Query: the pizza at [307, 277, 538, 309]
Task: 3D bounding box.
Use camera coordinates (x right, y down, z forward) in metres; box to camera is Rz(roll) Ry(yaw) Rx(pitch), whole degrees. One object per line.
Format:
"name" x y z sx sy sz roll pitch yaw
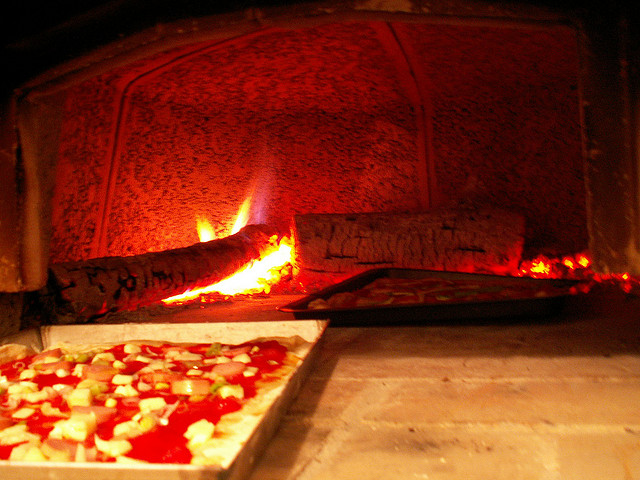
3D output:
"pizza" 0.334 0.157 1.707 0.605 0.031 0.582 0 3 15

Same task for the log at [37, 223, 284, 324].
"log" -0.522 0.107 1.991 0.167 0.221 0.971 0 3 23

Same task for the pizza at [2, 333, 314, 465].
"pizza" -0.375 0.285 1.104 0.606 0.109 0.485 0 3 10
